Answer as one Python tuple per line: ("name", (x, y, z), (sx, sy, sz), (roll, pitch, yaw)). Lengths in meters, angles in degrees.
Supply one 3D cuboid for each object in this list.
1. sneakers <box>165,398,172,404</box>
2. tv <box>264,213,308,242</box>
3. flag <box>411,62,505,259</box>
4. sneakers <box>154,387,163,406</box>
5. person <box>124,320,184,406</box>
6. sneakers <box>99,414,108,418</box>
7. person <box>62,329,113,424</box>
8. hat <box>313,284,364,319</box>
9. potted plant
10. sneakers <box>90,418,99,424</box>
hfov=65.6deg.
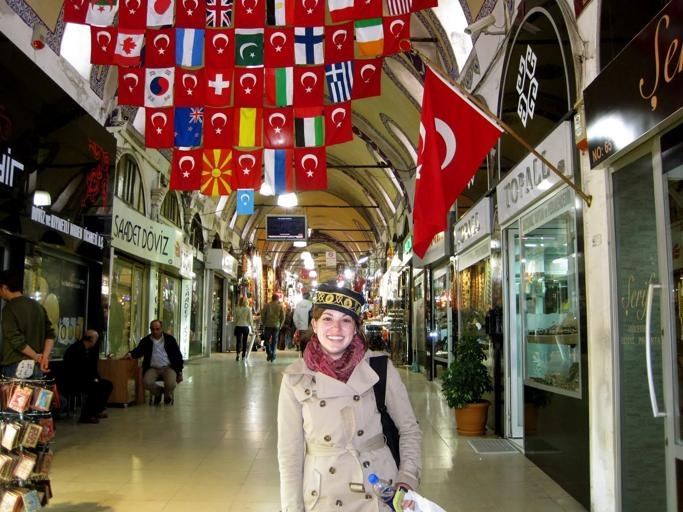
("sneakers", (-2.989, 2.463, 9.067), (0.129, 0.122, 0.082), (1, -12, -4))
("tv", (-2.303, -1.201, 22.026), (1.691, 1.129, 0.457), (-2, -12, 9))
("flag", (0.949, -0.839, 4.619), (0.772, 1.859, 0.378), (5, -12, -20))
("sneakers", (-3.200, 2.414, 9.167), (0.151, 0.311, 0.334), (5, -14, -21))
("person", (-3.536, 1.990, 9.780), (1.052, 1.992, 1.003), (-5, -21, -7))
("sneakers", (-3.605, 2.391, 7.961), (0.082, 0.051, 0.138), (1, 2, 4))
("person", (-3.793, 1.792, 8.033), (0.811, 1.350, 0.594), (-5, -13, 25))
("hat", (0.007, 0.230, 2.696), (0.259, 0.154, 0.241), (6, -21, 22))
("potted plant", (1.634, 1.648, 6.857), (0.673, 1.294, 0.452), (10, -15, -38))
("sneakers", (-3.550, 2.337, 7.565), (0.124, 0.086, 0.180), (7, -16, -26))
